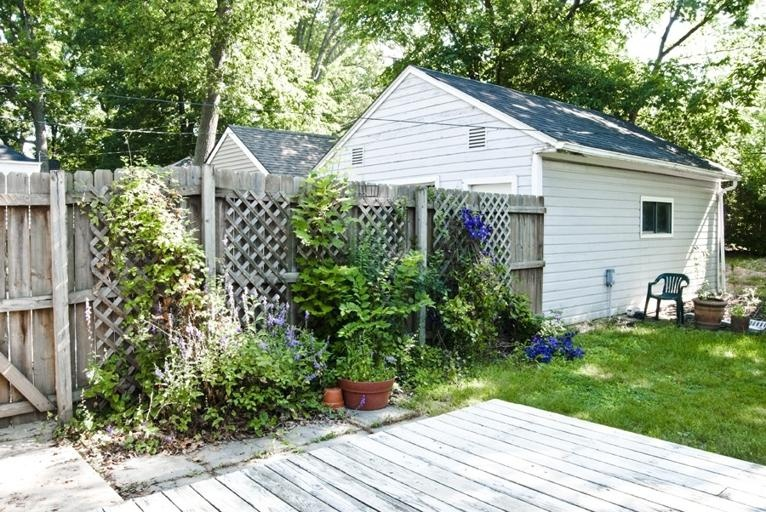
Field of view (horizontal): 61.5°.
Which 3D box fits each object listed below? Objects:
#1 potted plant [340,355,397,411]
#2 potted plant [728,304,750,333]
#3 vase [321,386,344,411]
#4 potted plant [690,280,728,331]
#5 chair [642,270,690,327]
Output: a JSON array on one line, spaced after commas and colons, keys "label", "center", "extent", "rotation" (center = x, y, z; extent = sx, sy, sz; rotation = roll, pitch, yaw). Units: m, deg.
[{"label": "potted plant", "center": [-0.188, 1.589, 7.814], "extent": [0.612, 0.408, 0.655], "rotation": [0, -3, 14]}, {"label": "potted plant", "center": [6.217, 1.070, 11.170], "extent": [0.295, 0.401, 0.561], "rotation": [5, 6, 30]}, {"label": "vase", "center": [-0.597, 1.662, 7.535], "extent": [0.222, 0.182, 0.225], "rotation": [0, -2, -1]}, {"label": "potted plant", "center": [5.941, 0.872, 11.472], "extent": [0.531, 0.769, 0.525], "rotation": [0, 2, 10]}, {"label": "chair", "center": [5.175, 0.749, 11.727], "extent": [0.748, 0.905, 0.714], "rotation": [5, 1, 17]}]
